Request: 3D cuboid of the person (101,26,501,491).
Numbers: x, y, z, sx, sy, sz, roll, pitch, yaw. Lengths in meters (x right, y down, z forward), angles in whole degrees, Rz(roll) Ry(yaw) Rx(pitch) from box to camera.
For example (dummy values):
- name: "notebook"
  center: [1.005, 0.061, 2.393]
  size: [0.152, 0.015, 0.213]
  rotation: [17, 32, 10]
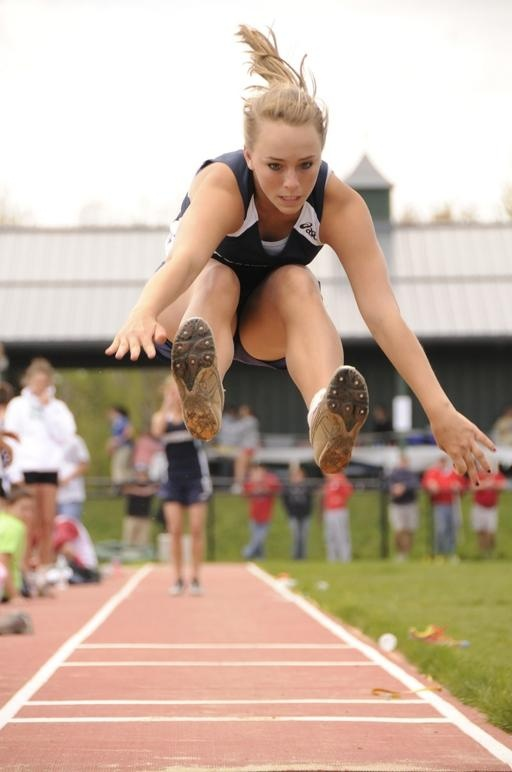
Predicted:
- name: "person"
  center: [0.086, -0.388, 3.096]
  size: [1.086, 1.311, 1.317]
  rotation: [-4, 0, 1]

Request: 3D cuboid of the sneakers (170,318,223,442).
- name: "sneakers"
  center: [-0.133, -0.009, 2.706]
  size: [0.134, 0.323, 0.161]
  rotation: [-3, 16, 2]
